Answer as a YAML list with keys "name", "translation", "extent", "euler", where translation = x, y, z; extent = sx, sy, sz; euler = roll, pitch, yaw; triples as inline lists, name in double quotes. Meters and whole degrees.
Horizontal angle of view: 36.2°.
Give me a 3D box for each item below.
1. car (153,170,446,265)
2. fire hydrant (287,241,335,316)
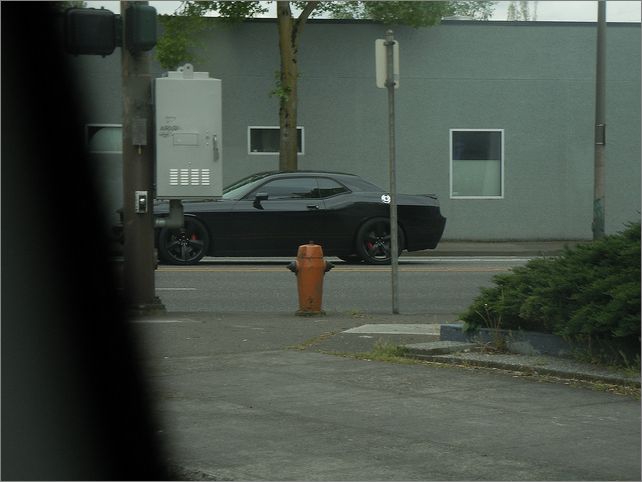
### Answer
- name: "car"
  translation: [-0.421, -0.471, 18.646]
  extent: [5.082, 1.208, 1.912]
  euler: [1, -1, -8]
- name: "fire hydrant"
  translation: [-0.143, 0.464, 12.732]
  extent: [0.582, 0.966, 0.642]
  euler: [3, 6, -1]
